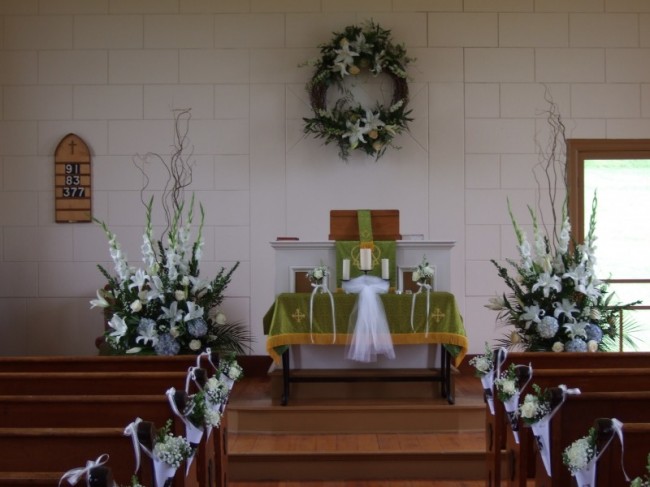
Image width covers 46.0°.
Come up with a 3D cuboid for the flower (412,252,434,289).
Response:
[{"bbox_3d":[0.987,0.268,7.631,0.256,0.462,0.318,0,-1,-12],"label":"flower"}]

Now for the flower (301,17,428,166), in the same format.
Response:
[{"bbox_3d":[0.421,-1.823,9.413,1.312,1.630,0.644,-2,2,-4],"label":"flower"}]

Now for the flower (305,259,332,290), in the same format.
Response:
[{"bbox_3d":[-0.063,0.305,7.688,0.242,0.347,0.262,1,-2,-5],"label":"flower"}]

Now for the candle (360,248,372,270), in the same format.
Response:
[{"bbox_3d":[0.408,0.151,7.626,0.128,0.210,0.324,-1,3,3],"label":"candle"}]

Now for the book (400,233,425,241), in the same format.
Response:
[{"bbox_3d":[0.905,-0.057,7.962,0.217,0.050,0.171,-1,4,-3],"label":"book"}]

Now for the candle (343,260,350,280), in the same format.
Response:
[{"bbox_3d":[0.217,0.259,7.702,0.087,0.206,0.233,-1,3,1],"label":"candle"}]

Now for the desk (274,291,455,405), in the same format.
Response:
[{"bbox_3d":[0.416,1.017,7.759,1.967,1.135,0.852,-1,1,2],"label":"desk"}]
